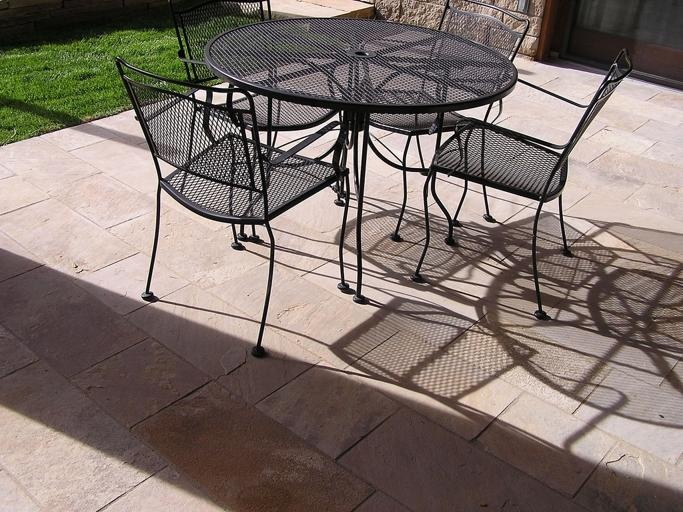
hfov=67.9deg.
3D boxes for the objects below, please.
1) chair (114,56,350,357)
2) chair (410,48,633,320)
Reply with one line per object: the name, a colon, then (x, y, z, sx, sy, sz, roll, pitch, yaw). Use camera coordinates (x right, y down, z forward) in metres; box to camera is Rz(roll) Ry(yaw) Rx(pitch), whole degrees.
chair: (-0.444, -0.338, 2.212, 0.991, 1.017, 0.977, 24, 45, 26)
chair: (0.830, -0.394, 2.394, 0.794, 0.993, 0.620, 16, 40, 27)
